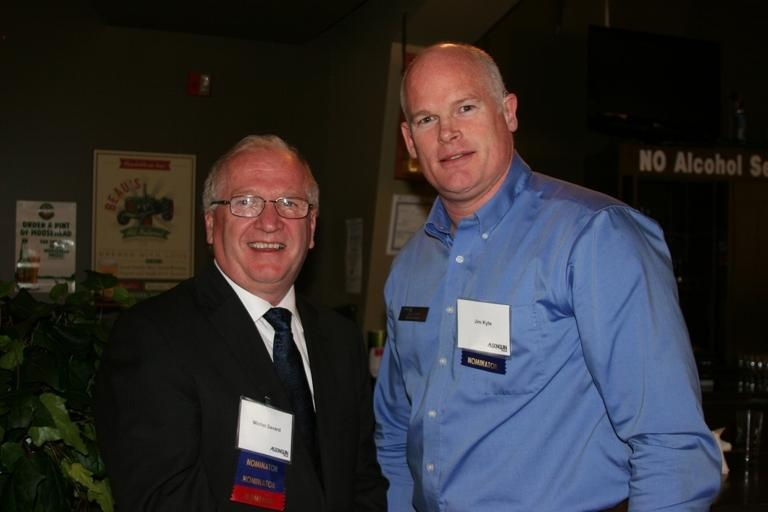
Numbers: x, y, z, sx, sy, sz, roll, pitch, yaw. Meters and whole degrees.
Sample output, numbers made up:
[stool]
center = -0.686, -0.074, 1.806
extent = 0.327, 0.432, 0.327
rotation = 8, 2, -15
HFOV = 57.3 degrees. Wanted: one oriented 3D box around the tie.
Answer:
[tie]
center = -0.425, 0.549, 3.184
extent = 0.168, 0.980, 0.141
rotation = -7, -24, -14
